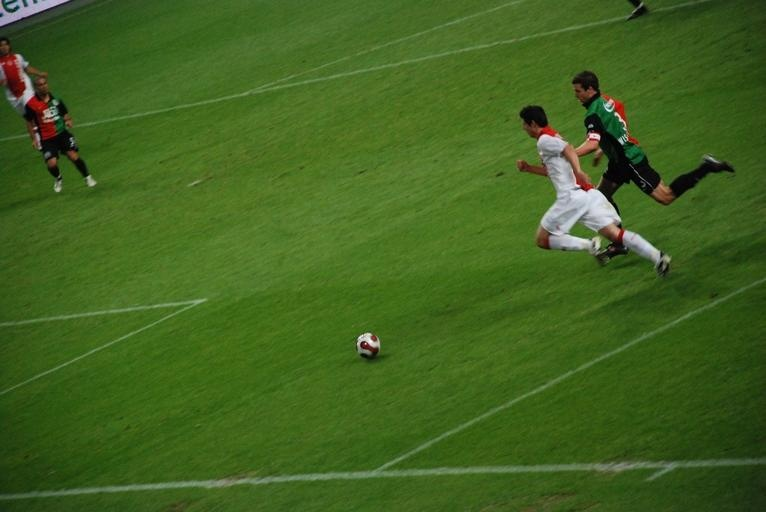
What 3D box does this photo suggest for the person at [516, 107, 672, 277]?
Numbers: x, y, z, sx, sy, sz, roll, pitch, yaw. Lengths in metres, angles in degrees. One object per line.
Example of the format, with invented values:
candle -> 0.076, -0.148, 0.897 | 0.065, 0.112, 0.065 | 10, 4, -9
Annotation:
person -> 2.300, -0.694, 12.808 | 1.341, 2.389, 0.540 | -22, 12, 11

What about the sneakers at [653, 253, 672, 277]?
sneakers -> 3.298, 0.110, 12.764 | 0.214, 0.250, 0.105 | -3, 28, -19

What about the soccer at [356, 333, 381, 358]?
soccer -> -0.170, 1.115, 13.301 | 0.306, 0.256, 0.186 | -23, 12, -4

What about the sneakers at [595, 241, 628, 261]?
sneakers -> 2.778, -0.038, 13.253 | 0.475, 0.207, 0.159 | -12, 52, 13

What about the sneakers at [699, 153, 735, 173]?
sneakers -> 3.987, -1.060, 12.864 | 0.381, 0.139, 0.223 | 12, 20, -25

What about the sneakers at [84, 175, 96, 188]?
sneakers -> -4.562, -1.162, 17.015 | 0.103, 0.114, 0.268 | -49, 28, -6

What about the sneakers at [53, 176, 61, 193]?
sneakers -> -5.114, -1.112, 17.111 | 0.112, 0.289, 0.131 | -9, 6, -3

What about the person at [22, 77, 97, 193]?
person -> -5.041, -1.802, 16.673 | 0.733, 1.631, 1.312 | -27, 12, -12
